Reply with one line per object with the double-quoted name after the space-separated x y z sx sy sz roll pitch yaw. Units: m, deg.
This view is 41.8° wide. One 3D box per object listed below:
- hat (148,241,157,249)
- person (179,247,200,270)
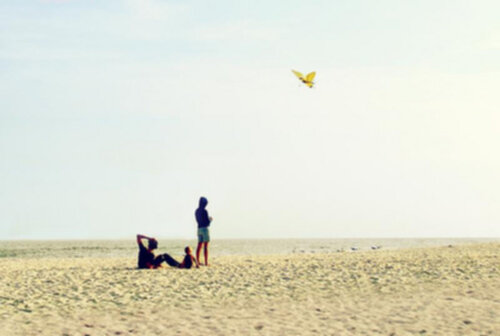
-4.187 3.227 28.167 0.364 0.357 0.340 4 -4 29 "hat"
-2.637 3.831 28.529 0.951 1.086 0.809 1 -7 7 "person"
